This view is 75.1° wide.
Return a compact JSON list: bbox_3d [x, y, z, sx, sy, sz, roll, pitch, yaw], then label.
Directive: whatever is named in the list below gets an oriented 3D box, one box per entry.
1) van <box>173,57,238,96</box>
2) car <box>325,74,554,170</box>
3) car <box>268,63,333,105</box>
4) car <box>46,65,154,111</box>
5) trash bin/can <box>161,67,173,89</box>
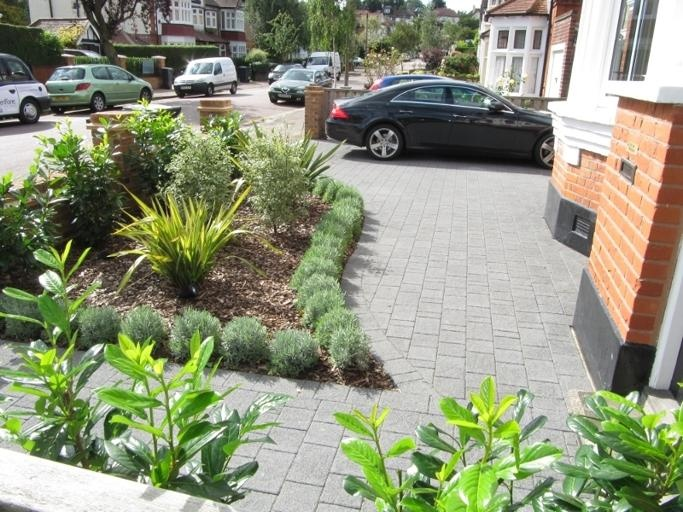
[{"bbox_3d":[-8.858,-11.654,28.890,2.022,2.355,4.375,9,24,23],"label":"van"},{"bbox_3d":[2.597,-3.810,12.508,5.953,1.799,2.549,2,23,3],"label":"car"},{"bbox_3d":[-2.426,-9.939,25.893,2.212,1.915,3.527,8,24,21],"label":"car"},{"bbox_3d":[-11.106,-7.660,20.196,1.413,1.926,4.158,14,26,33],"label":"car"},{"bbox_3d":[-14.057,-14.223,35.531,0.842,1.532,0.955,-14,25,-32],"label":"trash bin/can"}]
